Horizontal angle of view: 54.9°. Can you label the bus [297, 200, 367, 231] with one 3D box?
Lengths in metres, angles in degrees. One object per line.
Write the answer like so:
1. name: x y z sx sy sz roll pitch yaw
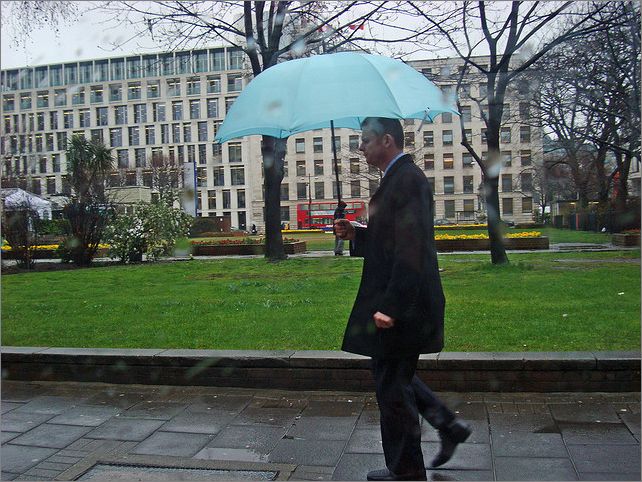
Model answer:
1. bus: 1.456 -2.428 63.040 8.026 2.992 2.160 -2 -5 33
